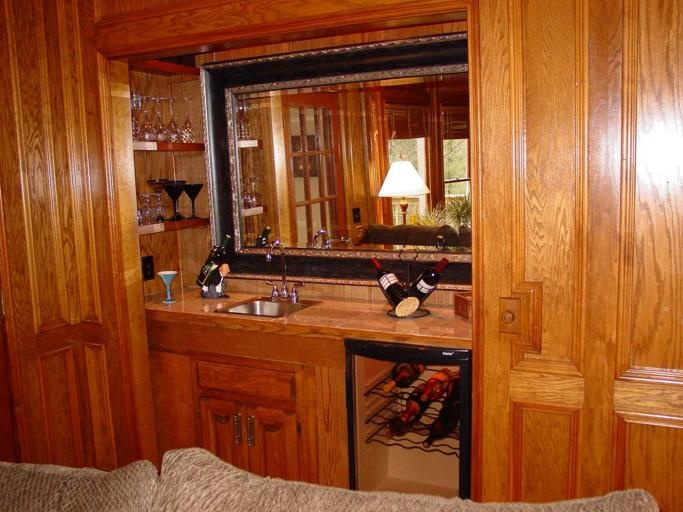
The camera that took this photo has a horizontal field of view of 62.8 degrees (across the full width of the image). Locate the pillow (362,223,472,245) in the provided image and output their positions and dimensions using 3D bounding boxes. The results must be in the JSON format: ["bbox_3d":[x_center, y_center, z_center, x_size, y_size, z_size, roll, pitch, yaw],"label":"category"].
[{"bbox_3d":[0.423,-0.109,3.033,0.538,0.123,0.028,1,11,21],"label":"pillow"}]

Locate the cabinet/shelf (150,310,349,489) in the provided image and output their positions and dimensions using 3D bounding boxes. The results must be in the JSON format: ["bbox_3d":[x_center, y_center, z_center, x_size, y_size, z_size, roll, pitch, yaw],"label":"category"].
[{"bbox_3d":[-0.397,0.658,2.660,0.901,0.705,0.341,2,5,21],"label":"cabinet/shelf"}]

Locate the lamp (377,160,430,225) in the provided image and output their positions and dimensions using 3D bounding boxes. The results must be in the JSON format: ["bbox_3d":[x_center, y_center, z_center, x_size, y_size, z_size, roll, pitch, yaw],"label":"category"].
[{"bbox_3d":[0.344,-0.299,3.122,0.262,0.381,0.256,-4,1,36],"label":"lamp"}]

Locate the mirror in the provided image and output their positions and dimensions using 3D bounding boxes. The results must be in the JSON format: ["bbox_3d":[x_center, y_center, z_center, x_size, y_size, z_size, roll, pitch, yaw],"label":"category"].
[{"bbox_3d":[0.017,-0.544,3.080,1.491,1.000,0.135,2,7,25],"label":"mirror"}]

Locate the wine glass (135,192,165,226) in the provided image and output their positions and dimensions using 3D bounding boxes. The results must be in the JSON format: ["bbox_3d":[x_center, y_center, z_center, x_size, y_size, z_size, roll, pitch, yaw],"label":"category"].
[{"bbox_3d":[-1.125,-0.284,3.329,0.198,0.186,0.179,0,4,31],"label":"wine glass"}]

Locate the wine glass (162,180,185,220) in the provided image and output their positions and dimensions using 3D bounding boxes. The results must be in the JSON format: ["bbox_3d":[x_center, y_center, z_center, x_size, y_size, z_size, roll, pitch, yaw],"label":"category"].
[{"bbox_3d":[-1.048,-0.354,3.501,0.128,0.234,0.332,-6,11,-15],"label":"wine glass"}]

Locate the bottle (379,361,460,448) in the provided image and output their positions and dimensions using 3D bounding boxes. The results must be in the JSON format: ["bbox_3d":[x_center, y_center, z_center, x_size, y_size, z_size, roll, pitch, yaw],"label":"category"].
[{"bbox_3d":[0.389,0.687,2.641,0.350,0.380,0.073,2,12,26],"label":"bottle"}]

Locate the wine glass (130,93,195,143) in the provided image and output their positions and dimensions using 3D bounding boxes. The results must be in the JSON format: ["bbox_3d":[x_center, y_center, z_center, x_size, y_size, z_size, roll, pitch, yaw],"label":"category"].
[{"bbox_3d":[-1.086,-0.821,3.357,0.103,0.246,0.418,1,9,34],"label":"wine glass"}]
